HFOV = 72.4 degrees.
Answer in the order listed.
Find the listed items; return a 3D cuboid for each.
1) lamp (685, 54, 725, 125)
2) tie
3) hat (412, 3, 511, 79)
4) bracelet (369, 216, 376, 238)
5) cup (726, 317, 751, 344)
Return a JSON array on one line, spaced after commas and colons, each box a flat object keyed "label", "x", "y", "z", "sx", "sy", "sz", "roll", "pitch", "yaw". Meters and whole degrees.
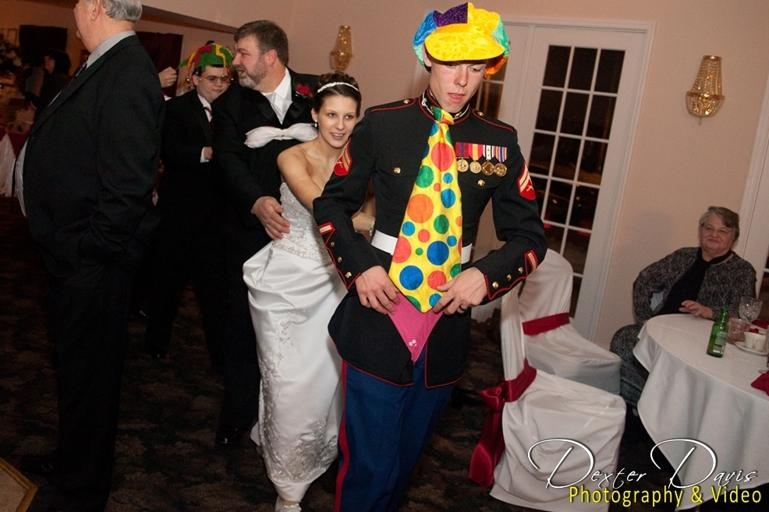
[{"label": "lamp", "x": 2.837, "y": -1.503, "z": 4.721, "sx": 0.293, "sy": 0.541, "sz": 0.157, "roll": 13, "pitch": 13, "yaw": 30}, {"label": "tie", "x": 0.180, "y": -0.173, "z": 1.996, "sx": 0.198, "sy": 0.764, "sz": 0.223, "roll": 14, "pitch": 14, "yaw": 33}, {"label": "hat", "x": 0.284, "y": -0.829, "z": 1.990, "sx": 0.349, "sy": 0.237, "sz": 0.194, "roll": 8, "pitch": 12, "yaw": 3}, {"label": "bracelet", "x": -0.062, "y": -0.140, "z": 2.443, "sx": 0.024, "sy": 0.111, "sz": 0.031, "roll": 3, "pitch": 11, "yaw": -17}, {"label": "cup", "x": 2.160, "y": 0.462, "z": 3.282, "sx": 0.143, "sy": 0.170, "sz": 0.144, "roll": 2, "pitch": 0, "yaw": 0}]
